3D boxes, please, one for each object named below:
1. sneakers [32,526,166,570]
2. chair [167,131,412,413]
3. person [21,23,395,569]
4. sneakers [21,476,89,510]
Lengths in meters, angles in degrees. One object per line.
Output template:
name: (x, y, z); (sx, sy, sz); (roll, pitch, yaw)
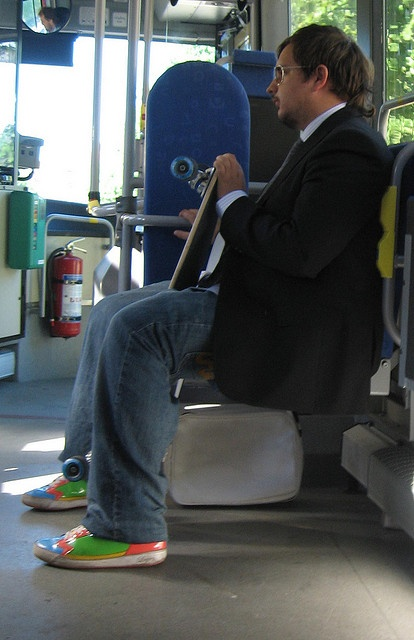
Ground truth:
sneakers: (-0.236, 0.511, 1.215); (0.305, 0.120, 0.107); (3, -16, -1)
chair: (0.218, -0.084, 1.422); (0.578, 0.758, 0.613); (9, 7, -13)
person: (0.051, -0.024, 1.830); (1.237, 1.793, 0.815); (5, 1, -4)
sneakers: (-0.423, 0.516, 1.569); (0.222, 0.092, 0.078); (2, -17, -9)
